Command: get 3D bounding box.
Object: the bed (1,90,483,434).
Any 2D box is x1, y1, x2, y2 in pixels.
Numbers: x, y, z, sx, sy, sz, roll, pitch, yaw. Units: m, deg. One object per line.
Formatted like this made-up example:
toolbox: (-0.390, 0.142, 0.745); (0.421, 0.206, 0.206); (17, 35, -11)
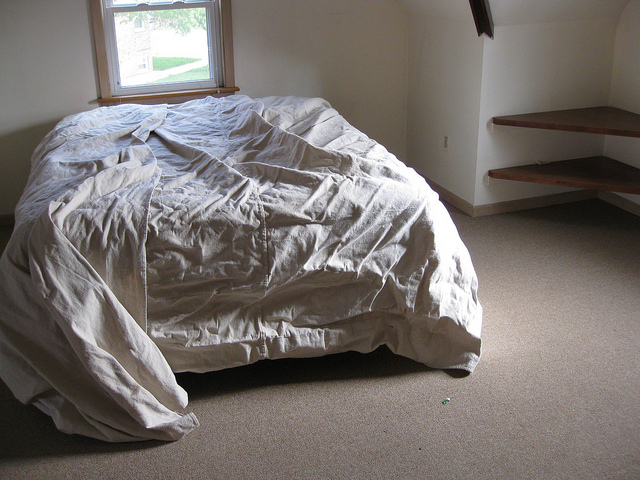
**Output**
bed: (-0.411, 0.032, 2.539); (1.974, 0.985, 1.287); (-5, 23, -9)
